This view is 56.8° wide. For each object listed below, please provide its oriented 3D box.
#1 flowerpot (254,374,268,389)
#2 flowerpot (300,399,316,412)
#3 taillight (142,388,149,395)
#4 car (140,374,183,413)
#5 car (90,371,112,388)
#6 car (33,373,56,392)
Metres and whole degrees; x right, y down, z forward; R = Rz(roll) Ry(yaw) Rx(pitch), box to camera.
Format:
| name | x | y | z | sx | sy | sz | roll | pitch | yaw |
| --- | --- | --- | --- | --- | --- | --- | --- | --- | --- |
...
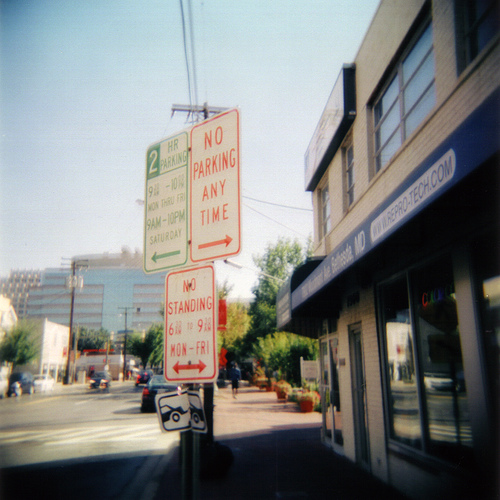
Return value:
| name | x | y | z | sx | sy | sz | roll | pitch | yaw |
| --- | --- | --- | --- | --- | --- | --- | --- | --- | --- |
| flowerpot | 0.761 | 9.334 | 32.190 | 0.960 | 1.314 | 1.048 | -6 | -11 | 27 |
| flowerpot | 2.026 | 5.510 | 16.378 | 0.523 | 0.409 | 0.333 | -4 | -16 | 10 |
| taillight | -3.751 | 5.089 | 16.629 | 0.140 | 0.193 | 0.173 | -1 | -11 | -6 |
| car | -3.471 | 5.266 | 16.955 | 1.056 | 1.326 | 2.248 | 3 | -19 | -14 |
| car | -11.720 | 10.138 | 36.220 | 1.514 | 1.267 | 2.322 | 5 | -19 | -20 |
| car | -14.785 | 9.418 | 33.337 | 1.130 | 1.247 | 3.096 | -2 | -16 | 1 |
